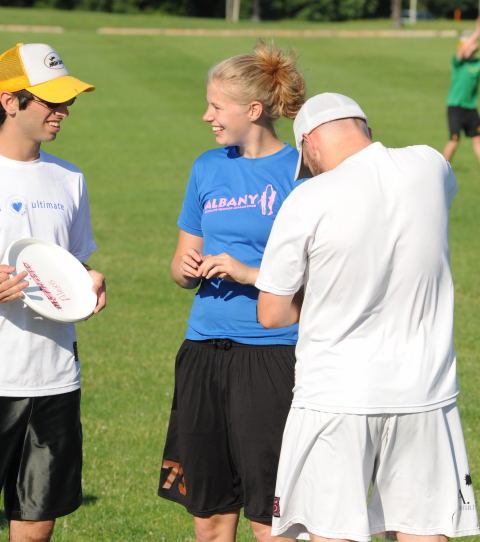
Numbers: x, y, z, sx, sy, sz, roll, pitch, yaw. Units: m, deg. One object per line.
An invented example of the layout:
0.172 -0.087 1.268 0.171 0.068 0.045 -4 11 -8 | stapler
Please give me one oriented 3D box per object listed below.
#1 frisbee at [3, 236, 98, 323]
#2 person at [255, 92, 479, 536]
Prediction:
-0.846 0.003 5.239 0.302 0.362 0.485 3 15 23 | frisbee
0.523 0.238 4.685 0.893 1.885 0.592 -2 13 0 | person
